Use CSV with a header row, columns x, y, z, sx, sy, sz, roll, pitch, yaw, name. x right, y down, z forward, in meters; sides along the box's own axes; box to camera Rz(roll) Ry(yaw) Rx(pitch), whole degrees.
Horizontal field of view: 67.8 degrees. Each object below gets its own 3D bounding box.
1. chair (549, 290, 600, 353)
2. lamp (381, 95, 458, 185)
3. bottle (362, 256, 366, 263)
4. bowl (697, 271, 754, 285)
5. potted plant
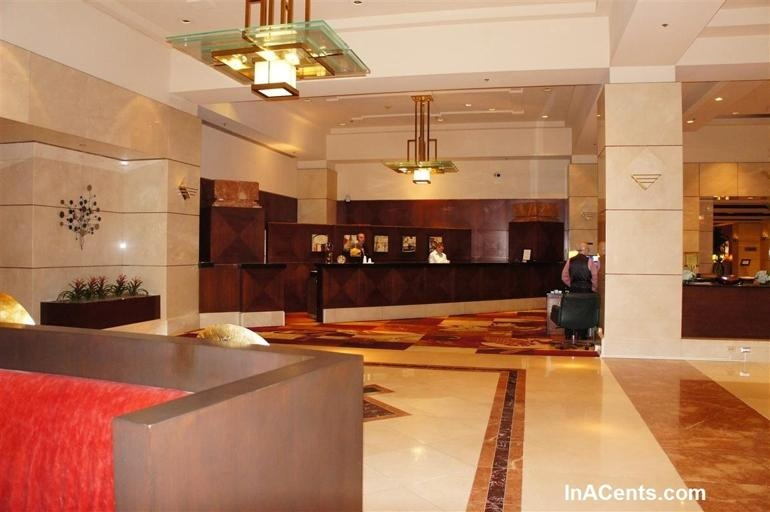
x,y,z,sx,sy,sz,roll,pitch,yaw,name
3.031,0.998,9.110,0.672,0.874,0.753,2,6,17,chair
0.794,-2.599,12.630,1.606,1.789,1.544,0,10,1,lamp
-0.484,0.095,12.857,0.130,0.133,0.123,2,-2,-19,bottle
5.173,0.372,8.782,0.762,0.155,0.867,2,6,25,bowl
-4.349,0.722,8.913,0.527,0.724,1.613,2,2,23,potted plant
